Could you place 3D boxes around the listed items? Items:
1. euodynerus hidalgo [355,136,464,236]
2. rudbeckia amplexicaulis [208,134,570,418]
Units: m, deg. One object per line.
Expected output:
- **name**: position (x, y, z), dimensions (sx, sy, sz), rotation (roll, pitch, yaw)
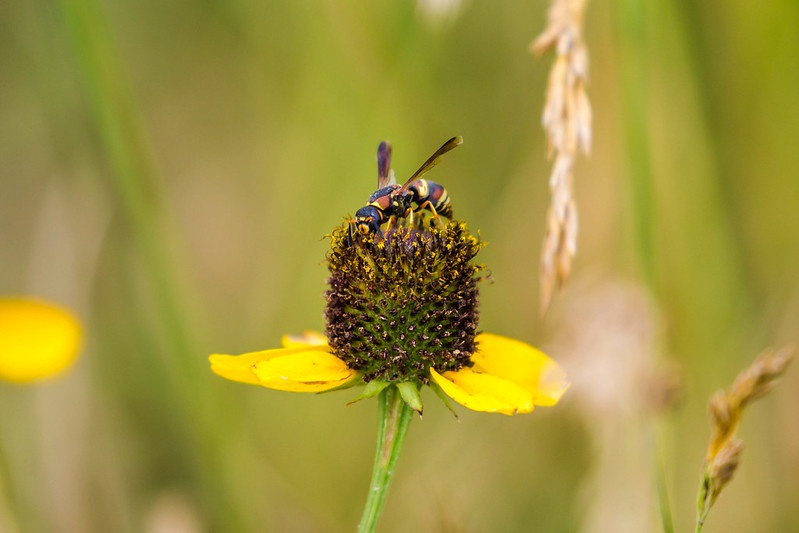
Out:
- **euodynerus hidalgo**: position (0.016, -0.243, 2.891), dimensions (0.394, 0.290, 0.419), rotation (-13, 17, -39)
- **rudbeckia amplexicaulis**: position (-0.040, 0.136, 2.771), dimensions (0.876, 0.717, 0.908), rotation (2, 5, 41)
